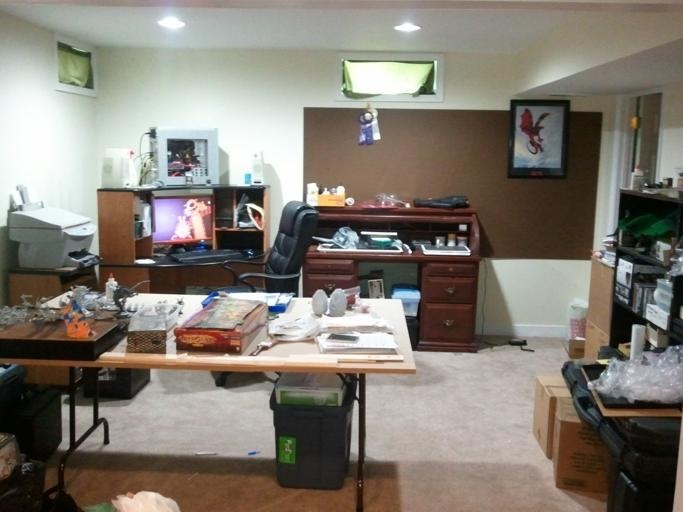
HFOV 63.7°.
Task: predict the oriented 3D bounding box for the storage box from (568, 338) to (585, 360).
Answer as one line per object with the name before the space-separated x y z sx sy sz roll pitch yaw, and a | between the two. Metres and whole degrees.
storage box | 2.203 0.871 5.142 0.182 0.167 0.169 0 5 3

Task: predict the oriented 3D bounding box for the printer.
printer | -2.370 -0.208 4.451 0.797 0.774 0.558 1 7 -2

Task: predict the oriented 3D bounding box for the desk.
desk | -0.476 1.125 3.468 2.268 1.032 1.175 0 9 1

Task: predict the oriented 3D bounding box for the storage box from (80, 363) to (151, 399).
storage box | -1.728 0.970 4.220 0.511 0.235 0.327 0 3 0

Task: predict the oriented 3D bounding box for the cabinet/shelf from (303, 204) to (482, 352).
cabinet/shelf | 0.468 0.163 4.775 1.522 1.170 0.540 0 5 3

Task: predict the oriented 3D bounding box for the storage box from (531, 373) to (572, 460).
storage box | 1.336 1.033 3.480 0.274 0.476 0.447 -2 17 10

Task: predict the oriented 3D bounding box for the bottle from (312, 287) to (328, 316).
bottle | -0.139 0.302 3.577 0.141 0.195 0.118 -2 11 -18

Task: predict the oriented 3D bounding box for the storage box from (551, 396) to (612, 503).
storage box | 1.434 1.144 3.282 0.323 0.466 0.283 7 16 22

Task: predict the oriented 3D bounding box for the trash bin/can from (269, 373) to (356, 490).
trash bin/can | -0.173 1.019 3.404 0.662 0.661 0.597 0 3 2

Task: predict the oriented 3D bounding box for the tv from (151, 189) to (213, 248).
tv | -1.562 -0.355 5.379 0.638 0.491 0.067 0 3 -10

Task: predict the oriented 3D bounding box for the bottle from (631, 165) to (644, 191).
bottle | 2.184 -0.569 4.042 0.078 0.153 0.214 9 16 26
